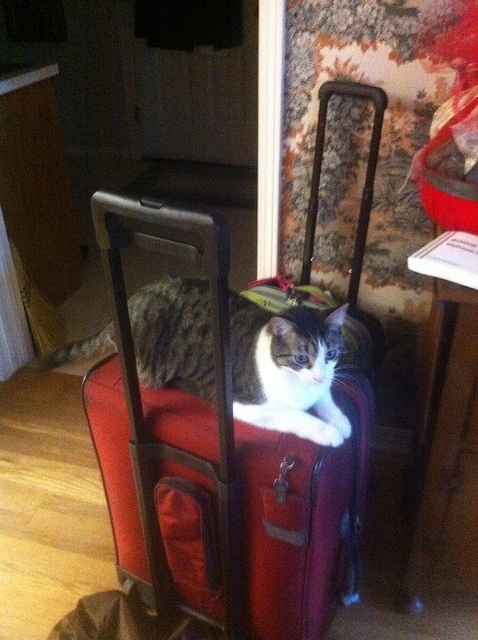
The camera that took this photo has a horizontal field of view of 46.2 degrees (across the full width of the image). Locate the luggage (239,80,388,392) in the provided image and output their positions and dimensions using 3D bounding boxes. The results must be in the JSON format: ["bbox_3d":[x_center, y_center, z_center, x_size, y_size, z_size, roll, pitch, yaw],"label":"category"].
[{"bbox_3d":[0.189,-0.098,1.240,0.273,0.752,0.229,10,38,12],"label":"luggage"}]

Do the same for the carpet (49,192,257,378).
[{"bbox_3d":[-0.333,-0.216,2.459,0.733,0.865,0.186,6,13,32],"label":"carpet"}]

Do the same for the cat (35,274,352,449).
[{"bbox_3d":[-0.080,0.027,1.023,0.556,0.266,0.259,15,25,22],"label":"cat"}]
